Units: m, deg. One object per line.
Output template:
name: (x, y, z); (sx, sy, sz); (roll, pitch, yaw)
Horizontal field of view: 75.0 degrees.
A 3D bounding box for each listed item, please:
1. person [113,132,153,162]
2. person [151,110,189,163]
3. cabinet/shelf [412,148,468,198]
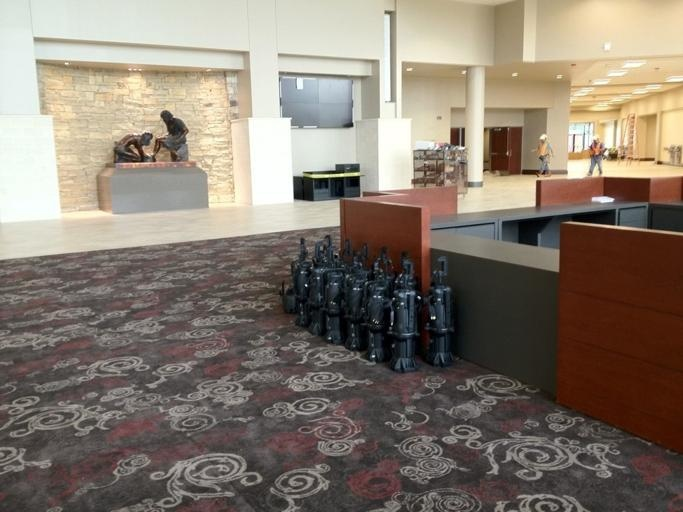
person: (-5.657, -2.841, 11.740); (0.962, 0.773, 0.501); (-8, 15, -23)
person: (-4.758, -3.218, 12.114); (0.865, 1.306, 0.459); (-7, 15, -16)
cabinet/shelf: (3.083, -2.751, 14.122); (1.820, 1.153, 1.705); (-5, 14, -16)
